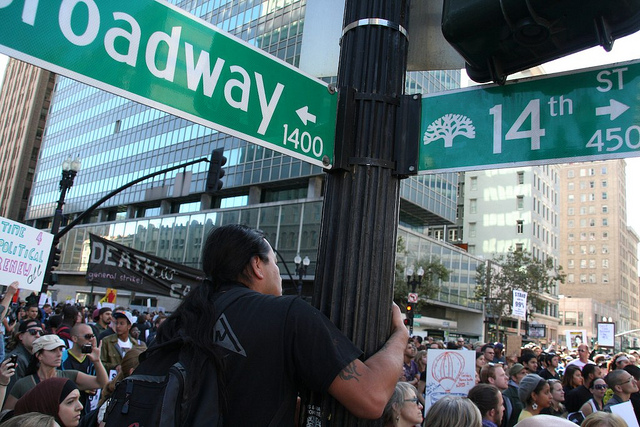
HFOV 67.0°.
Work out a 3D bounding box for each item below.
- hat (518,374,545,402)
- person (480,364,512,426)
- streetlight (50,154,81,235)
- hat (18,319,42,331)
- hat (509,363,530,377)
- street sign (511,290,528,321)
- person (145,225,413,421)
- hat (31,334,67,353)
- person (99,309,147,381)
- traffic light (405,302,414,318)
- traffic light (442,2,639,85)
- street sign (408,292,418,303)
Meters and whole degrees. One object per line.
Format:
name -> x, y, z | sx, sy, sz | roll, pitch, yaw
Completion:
hat -> 3.303, 2.657, 7.522 | 0.343, 0.321, 0.258 | -29, -10, 18
person -> 2.804, 2.843, 7.682 | 0.461, 0.820, 1.319 | 0, -13, 19
streetlight -> -9.049, -0.521, 16.824 | 0.484, 3.022, 0.826 | 15, -12, -37
hat -> -4.391, 1.687, 7.292 | 0.269, 0.167, 0.352 | 12, -14, -29
hat -> 3.609, 2.852, 8.791 | 0.259, 0.100, 0.191 | -28, -20, 38
street sign -> 12.736, 5.772, 30.844 | 0.047, 1.718, 2.388 | -2, -14, 42
person -> -0.226, 0.564, 2.580 | 1.309, 0.988, 0.358 | 5, -13, -2
hat -> -3.461, 1.656, 6.132 | 0.310, 0.213, 0.356 | 16, -17, -41
person -> -3.566, 2.570, 8.624 | 0.823, 1.586, 0.754 | 6, -19, -27
traffic light -> 4.583, 4.898, 24.600 | 0.304, 0.781, 0.858 | 1, -13, 14
traffic light -> 1.301, -1.114, 2.913 | 1.019, 0.378, 0.665 | -6, -16, 40
street sign -> 4.752, 4.371, 25.169 | 0.487, 0.483, 0.177 | 2, -6, -9
